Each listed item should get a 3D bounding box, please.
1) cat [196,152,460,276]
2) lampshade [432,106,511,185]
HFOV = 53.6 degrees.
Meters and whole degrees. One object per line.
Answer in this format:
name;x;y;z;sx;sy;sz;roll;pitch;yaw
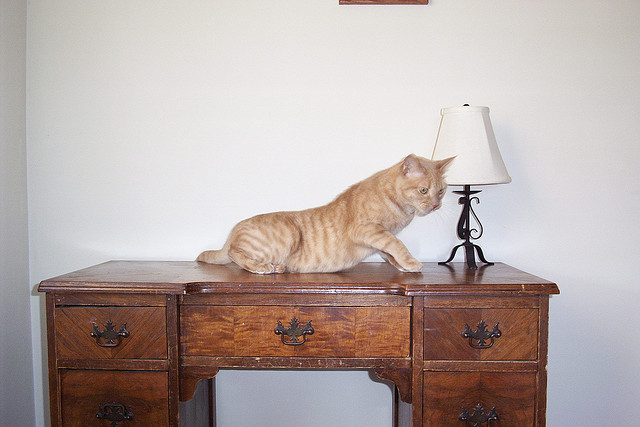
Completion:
cat;-0.055;0.031;2.752;1.200;0.471;0.433;-1;4;16
lampshade;0.634;-0.299;2.816;0.449;0.346;0.445;-1;8;6
